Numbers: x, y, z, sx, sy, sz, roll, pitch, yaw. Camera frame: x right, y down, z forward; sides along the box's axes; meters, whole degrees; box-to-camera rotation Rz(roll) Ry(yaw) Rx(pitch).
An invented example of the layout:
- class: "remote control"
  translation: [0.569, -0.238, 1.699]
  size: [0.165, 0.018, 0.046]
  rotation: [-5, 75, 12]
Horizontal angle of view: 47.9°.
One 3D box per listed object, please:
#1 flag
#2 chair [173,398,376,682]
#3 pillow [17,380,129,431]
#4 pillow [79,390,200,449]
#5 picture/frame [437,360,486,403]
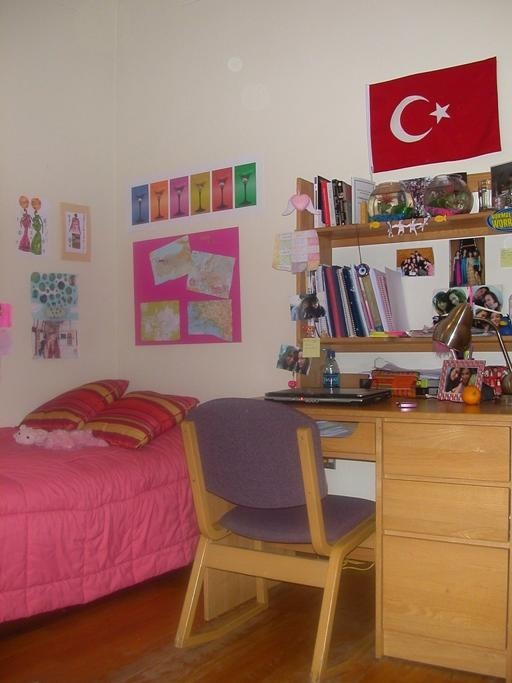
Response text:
- class: "flag"
  translation: [0.737, -0.919, 2.335]
  size: [0.623, 0.417, 0.030]
  rotation: [-5, -3, 31]
- class: "chair"
  translation: [0.002, 0.550, 1.776]
  size: [0.685, 0.763, 0.571]
  rotation: [-5, -6, 40]
- class: "pillow"
  translation: [-0.948, 0.322, 2.868]
  size: [0.465, 0.135, 0.462]
  rotation: [-2, 17, -15]
- class: "pillow"
  translation: [-0.619, 0.383, 2.593]
  size: [0.427, 0.123, 0.459]
  rotation: [-4, 12, 28]
- class: "picture/frame"
  translation: [0.673, 0.131, 1.886]
  size: [0.150, 0.156, 0.013]
  rotation: [1, -24, 38]
